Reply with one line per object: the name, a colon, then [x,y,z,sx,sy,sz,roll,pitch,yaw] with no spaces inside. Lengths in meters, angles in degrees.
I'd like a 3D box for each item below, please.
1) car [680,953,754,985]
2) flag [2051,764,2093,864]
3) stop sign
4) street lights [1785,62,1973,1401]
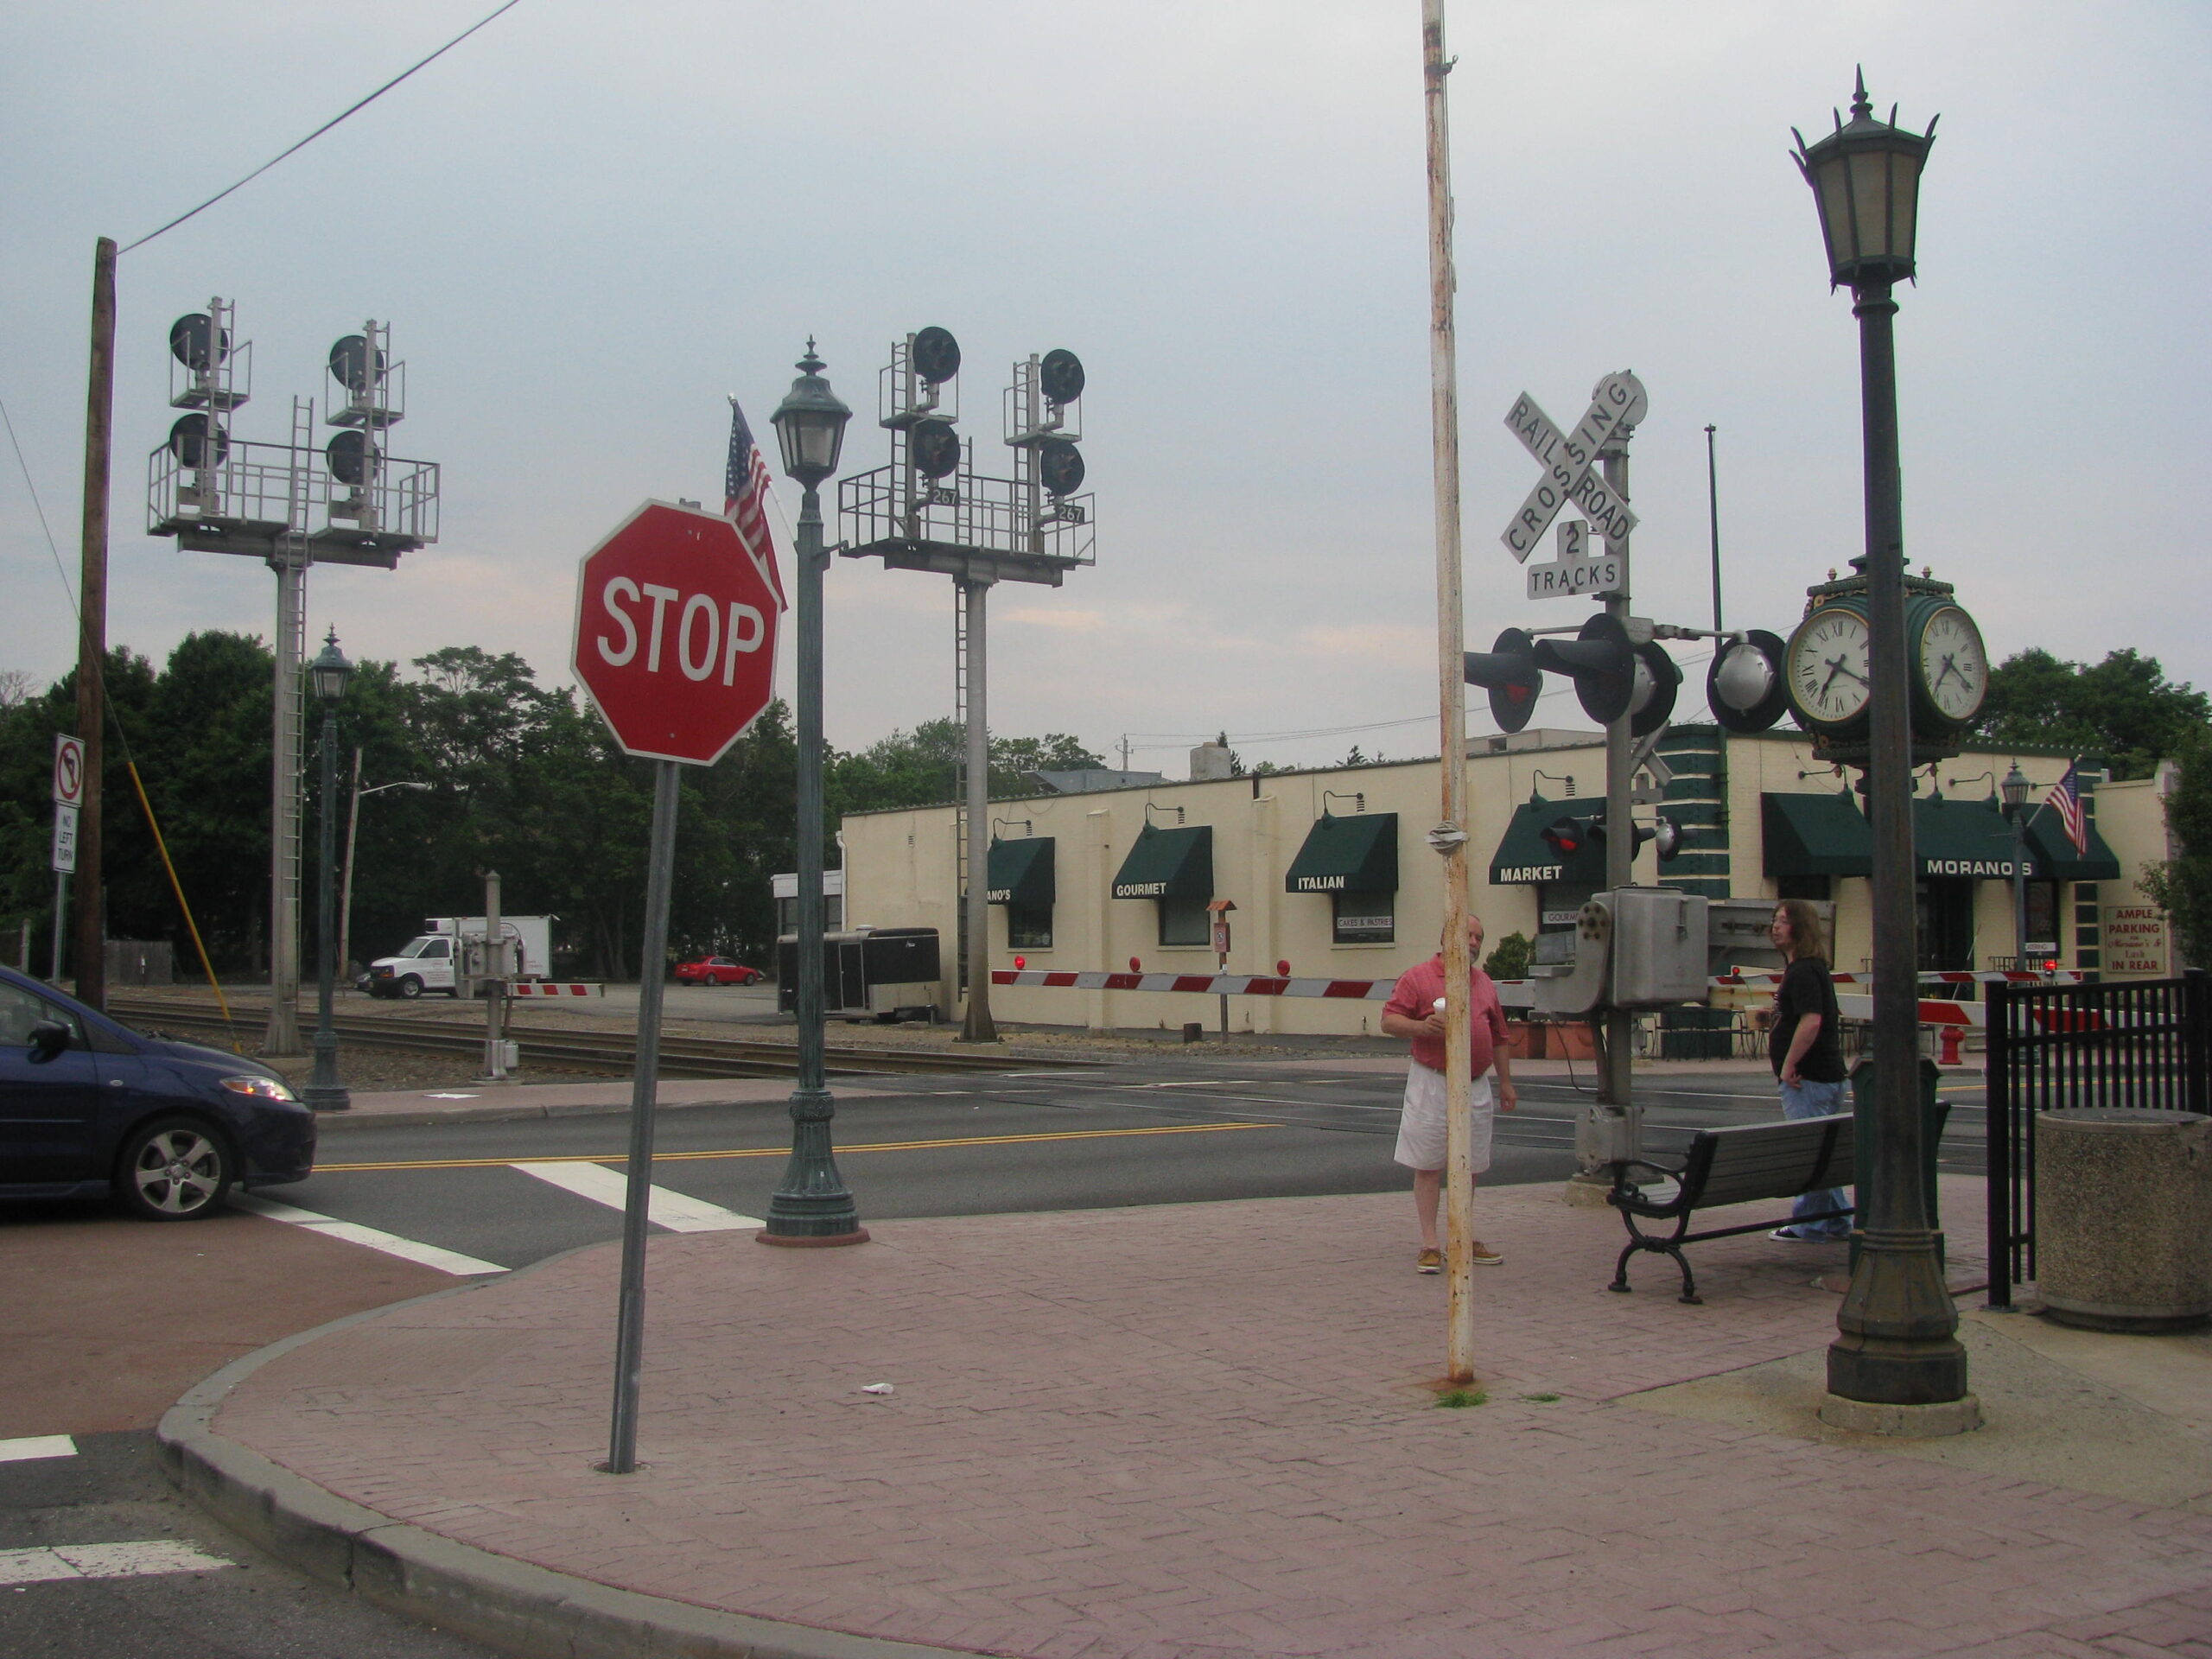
car: [-12.956,4.709,93.677,2.048,0.845,1.334,-1,-1,-2]
flag: [14.561,-0.223,43.268,0.110,0.676,1.593,-29,-29,11]
stop sign: [-1.848,-0.854,12.354,1.069,0.912,0.282,2,-1,-42]
street lights: [3.647,-0.465,13.268,0.674,6.119,0.765,1,-1,1]
